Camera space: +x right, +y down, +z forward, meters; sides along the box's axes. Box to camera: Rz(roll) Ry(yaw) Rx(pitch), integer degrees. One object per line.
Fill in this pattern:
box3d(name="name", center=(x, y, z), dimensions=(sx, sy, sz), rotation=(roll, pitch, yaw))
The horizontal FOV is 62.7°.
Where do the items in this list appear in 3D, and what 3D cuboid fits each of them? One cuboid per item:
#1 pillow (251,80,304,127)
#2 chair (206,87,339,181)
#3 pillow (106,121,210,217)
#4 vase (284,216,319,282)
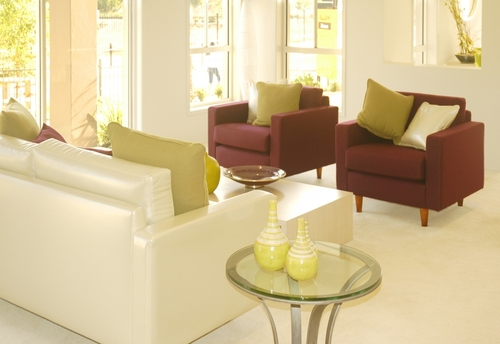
box3d(name="pillow", center=(0.343, -0.812, 5.020), dimensions=(0.511, 0.548, 0.197), rotation=(2, -15, 28))
box3d(name="chair", center=(0.339, -0.376, 5.301), dimensions=(1.172, 1.357, 1.268), rotation=(6, 10, 36))
box3d(name="pillow", center=(-0.527, -0.026, 2.386), dimensions=(0.625, 0.481, 0.215), rotation=(8, 20, 27))
box3d(name="vase", center=(0.242, 0.339, 1.905), dimensions=(0.150, 0.275, 0.210), rotation=(1, 18, 10))
